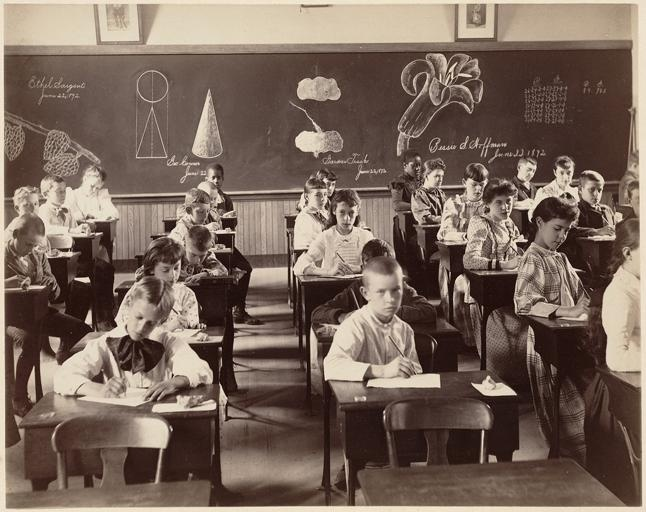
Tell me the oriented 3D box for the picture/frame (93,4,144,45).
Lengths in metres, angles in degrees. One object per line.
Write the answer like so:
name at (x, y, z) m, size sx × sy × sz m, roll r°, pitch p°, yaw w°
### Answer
picture/frame at (-2.107, -2.397, 6.614) m, size 0.465 × 0.419 × 0.254 m, roll -5°, pitch 14°, yaw -16°

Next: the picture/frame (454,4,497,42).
picture/frame at (1.625, -2.481, 6.788) m, size 0.434 × 0.382 × 0.146 m, roll 1°, pitch 13°, yaw 11°

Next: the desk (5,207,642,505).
desk at (0.016, 0.539, 3.538) m, size 1.274 × 1.442 × 1.469 m, roll 0°, pitch 10°, yaw -16°
